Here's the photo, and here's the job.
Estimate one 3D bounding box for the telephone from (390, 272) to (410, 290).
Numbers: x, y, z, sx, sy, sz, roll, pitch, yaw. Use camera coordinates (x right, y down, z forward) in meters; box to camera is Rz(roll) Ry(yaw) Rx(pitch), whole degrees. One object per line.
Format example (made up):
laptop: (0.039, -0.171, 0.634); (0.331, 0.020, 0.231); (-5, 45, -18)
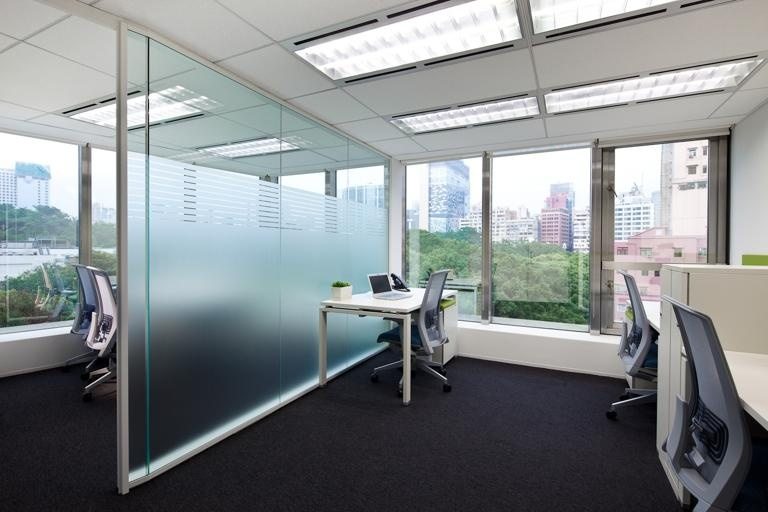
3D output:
telephone: (0.238, 0.379, 7.240); (0.278, 0.256, 0.093); (23, 36, 39)

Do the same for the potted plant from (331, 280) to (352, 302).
potted plant: (-0.505, 0.436, 6.192); (0.190, 0.288, 0.341); (-2, -2, 24)

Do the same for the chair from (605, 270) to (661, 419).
chair: (2.711, 0.975, 5.422); (0.475, 1.558, 0.716); (1, 3, 28)

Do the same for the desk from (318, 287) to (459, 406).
desk: (0.055, 1.074, 6.322); (1.281, 1.144, 1.397); (1, 3, 29)
